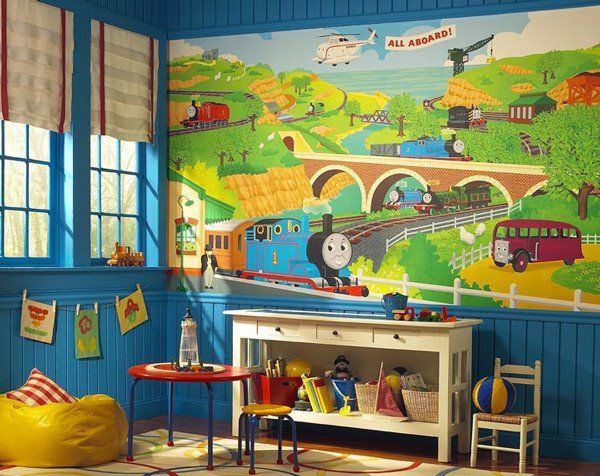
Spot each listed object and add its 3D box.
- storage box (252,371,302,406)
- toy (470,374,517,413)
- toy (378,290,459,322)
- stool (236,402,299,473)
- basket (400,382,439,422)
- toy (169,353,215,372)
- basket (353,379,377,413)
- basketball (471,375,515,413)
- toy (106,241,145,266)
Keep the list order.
[{"bbox_3d":[-0.191,1.215,7.303,0.238,0.223,0.321,5,-6,-33],"label":"storage box"},{"bbox_3d":[1.430,1.166,6.710,0.259,0.277,0.270,0,0,13],"label":"toy"},{"bbox_3d":[0.924,0.541,7.090,0.563,0.214,0.503,0,-5,9],"label":"toy"},{"bbox_3d":[-0.243,1.467,6.722,0.458,0.540,0.441,5,-8,-30],"label":"stool"},{"bbox_3d":[0.902,1.277,6.877,0.199,0.167,0.241,7,-14,-39],"label":"basket"},{"bbox_3d":[-0.797,0.929,6.639,0.320,0.088,0.262,1,-5,-3],"label":"toy"},{"bbox_3d":[0.515,1.244,7.046,0.211,0.232,0.153,-1,-5,23],"label":"basket"},{"bbox_3d":[1.421,1.167,6.713,0.257,0.270,0.268,-1,-1,17],"label":"basketball"},{"bbox_3d":[-1.519,0.170,7.874,0.172,0.260,0.346,-1,-4,29],"label":"toy"}]
